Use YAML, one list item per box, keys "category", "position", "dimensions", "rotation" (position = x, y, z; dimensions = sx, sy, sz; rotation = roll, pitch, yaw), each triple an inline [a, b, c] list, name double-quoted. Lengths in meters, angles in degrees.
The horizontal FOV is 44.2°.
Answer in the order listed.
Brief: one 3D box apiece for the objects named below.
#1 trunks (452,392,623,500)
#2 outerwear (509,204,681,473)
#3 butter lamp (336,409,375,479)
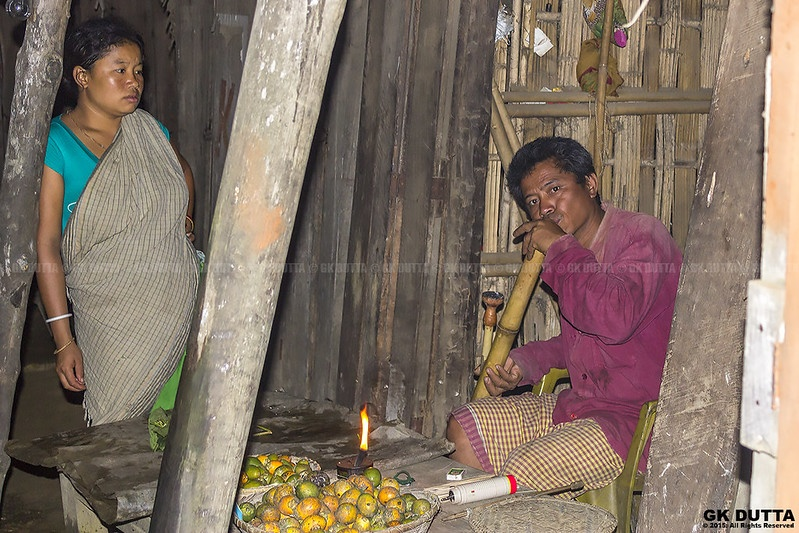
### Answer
- category: "trunks"
  position: [0.714, 0.919, 5.046]
  dimensions: [0.807, 0.671, 0.526]
  rotation: [4, -3, -19]
- category: "outerwear"
  position: [1.124, 0.148, 5.659]
  dimensions: [0.921, 1.905, 1.385]
  rotation: [1, 7, -12]
- category: "butter lamp"
  position: [-0.201, 0.813, 4.282]
  dimensions: [0.137, 0.322, 0.181]
  rotation: [3, 13, 11]
